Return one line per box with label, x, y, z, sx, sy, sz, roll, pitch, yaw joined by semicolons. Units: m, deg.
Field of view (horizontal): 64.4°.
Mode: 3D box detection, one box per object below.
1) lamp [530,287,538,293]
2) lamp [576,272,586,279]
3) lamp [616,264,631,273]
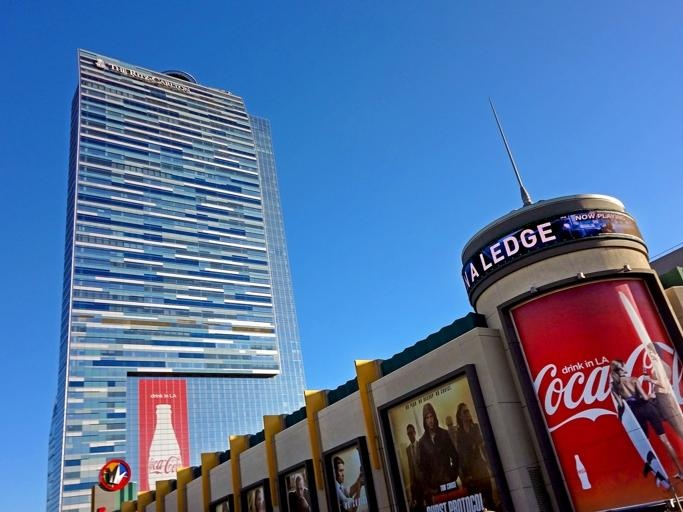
lamp;9.865;1.703;27.813;0.389;0.348;0.127;-14;-28;6
lamp;11.979;1.002;27.070;0.232;0.365;0.322;-2;-4;17
lamp;14.279;0.617;27.243;0.778;0.490;0.227;1;-30;-21
